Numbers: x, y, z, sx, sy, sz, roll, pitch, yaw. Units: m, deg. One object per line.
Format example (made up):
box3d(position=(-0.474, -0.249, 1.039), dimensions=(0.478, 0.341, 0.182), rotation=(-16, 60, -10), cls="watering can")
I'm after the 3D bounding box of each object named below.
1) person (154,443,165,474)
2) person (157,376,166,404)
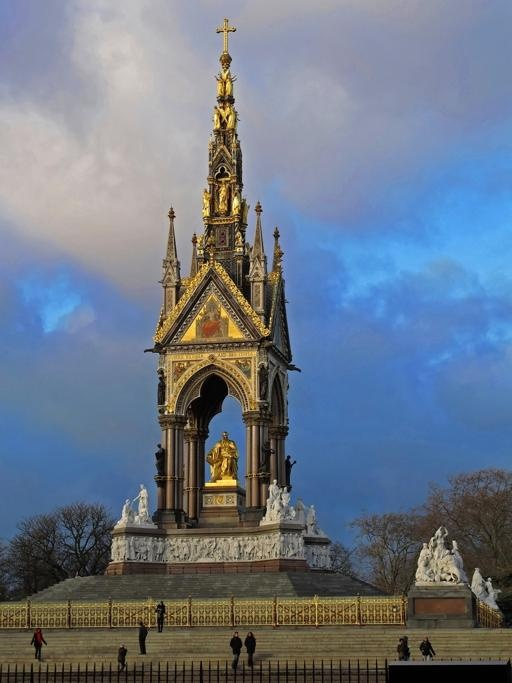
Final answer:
box3d(position=(-3.771, 4.601, 59.316), dimensions=(0.316, 1.288, 0.607), rotation=(-6, -21, 13), cls="person")
box3d(position=(-3.742, 2.011, 60.326), dimensions=(0.254, 1.208, 0.168), rotation=(-4, -20, 9), cls="person")
